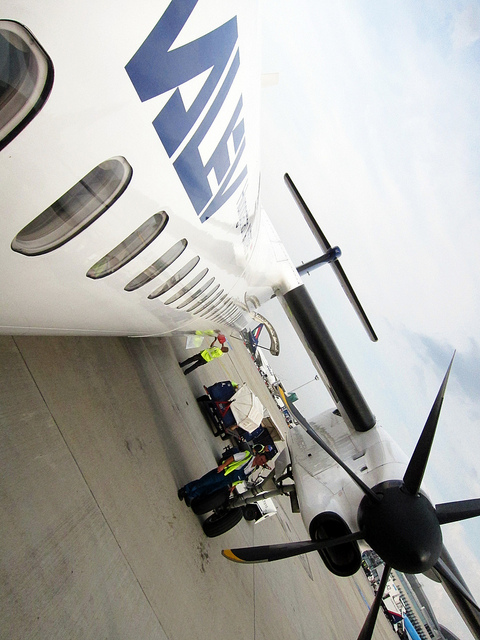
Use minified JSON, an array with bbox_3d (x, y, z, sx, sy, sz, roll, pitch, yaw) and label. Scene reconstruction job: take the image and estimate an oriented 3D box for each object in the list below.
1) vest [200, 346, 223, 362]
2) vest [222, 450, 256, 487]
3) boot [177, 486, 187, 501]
[{"bbox_3d":[-0.689,0.747,9.559,0.127,0.292,0.437,7,22,35],"label":"vest"},{"bbox_3d":[-0.076,2.286,6.385,0.499,0.376,0.484,-36,14,12],"label":"vest"},{"bbox_3d":[-0.864,2.597,6.239,0.147,0.226,0.075,-8,-14,36],"label":"boot"}]
